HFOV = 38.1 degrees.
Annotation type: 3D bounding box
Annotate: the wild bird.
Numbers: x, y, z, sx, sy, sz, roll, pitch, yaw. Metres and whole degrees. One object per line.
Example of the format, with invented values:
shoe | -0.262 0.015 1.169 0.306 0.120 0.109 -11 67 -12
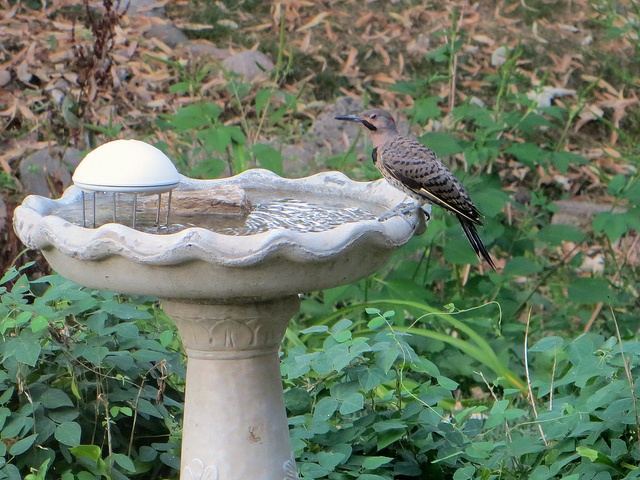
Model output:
wild bird | 0.459 -0.375 4.690 0.482 0.602 0.551 1 -2 -41
